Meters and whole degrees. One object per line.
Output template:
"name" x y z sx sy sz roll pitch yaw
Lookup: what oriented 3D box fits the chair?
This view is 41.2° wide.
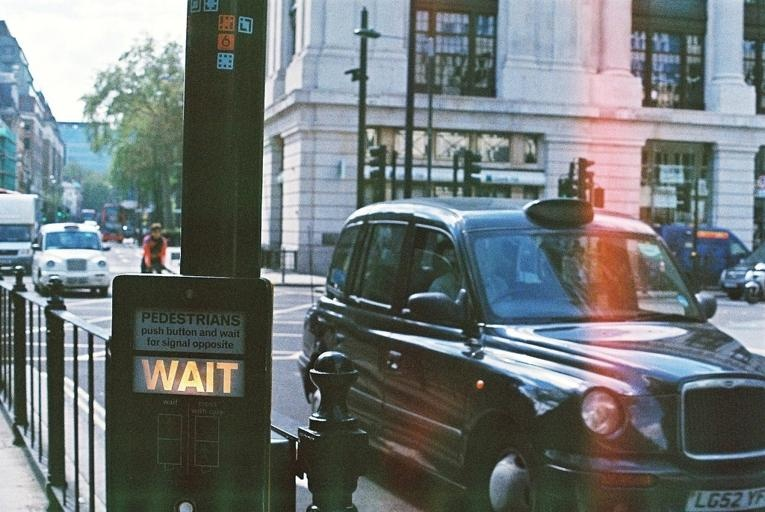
"chair" 0.725 0.119 7.765 0.352 0.594 0.227 0 -3 23
